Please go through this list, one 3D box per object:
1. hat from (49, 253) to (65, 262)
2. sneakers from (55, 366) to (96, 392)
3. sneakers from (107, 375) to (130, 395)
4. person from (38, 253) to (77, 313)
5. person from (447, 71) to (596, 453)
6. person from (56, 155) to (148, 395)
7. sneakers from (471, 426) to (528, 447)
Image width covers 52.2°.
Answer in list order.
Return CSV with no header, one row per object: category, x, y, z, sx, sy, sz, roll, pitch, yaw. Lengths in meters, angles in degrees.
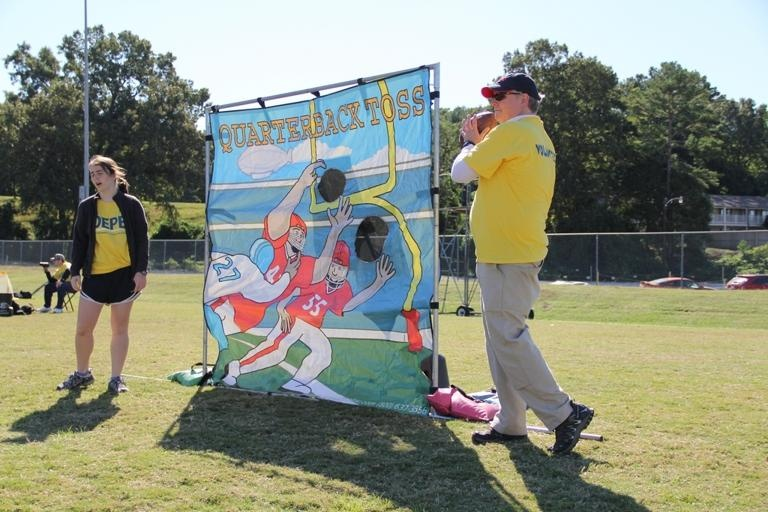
hat,-11.242,0.033,26.990,0.631,0.332,0.451,0,2,28
sneakers,-3.994,1.620,10.160,0.458,0.217,0.173,-4,5,-34
sneakers,-3.392,1.665,10.039,0.151,0.139,0.309,1,-8,-39
person,-8.282,0.742,19.843,0.699,1.432,0.870,-26,-33,32
person,1.453,0.039,8.749,1.341,4.256,0.528,0,-2,4
person,-3.612,0.230,10.195,1.014,3.043,0.478,1,-2,-14
sneakers,1.293,2.056,8.824,0.599,0.252,0.217,6,-15,-1
